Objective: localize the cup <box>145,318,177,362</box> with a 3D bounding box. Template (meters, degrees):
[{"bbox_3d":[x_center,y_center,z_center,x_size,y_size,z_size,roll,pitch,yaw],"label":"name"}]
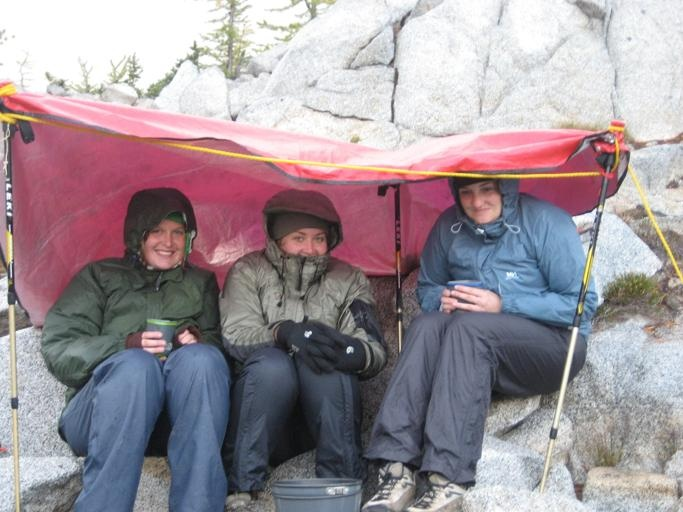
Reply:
[{"bbox_3d":[-1.212,0.580,5.552,0.255,0.290,0.263,2,1,0],"label":"cup"}]
